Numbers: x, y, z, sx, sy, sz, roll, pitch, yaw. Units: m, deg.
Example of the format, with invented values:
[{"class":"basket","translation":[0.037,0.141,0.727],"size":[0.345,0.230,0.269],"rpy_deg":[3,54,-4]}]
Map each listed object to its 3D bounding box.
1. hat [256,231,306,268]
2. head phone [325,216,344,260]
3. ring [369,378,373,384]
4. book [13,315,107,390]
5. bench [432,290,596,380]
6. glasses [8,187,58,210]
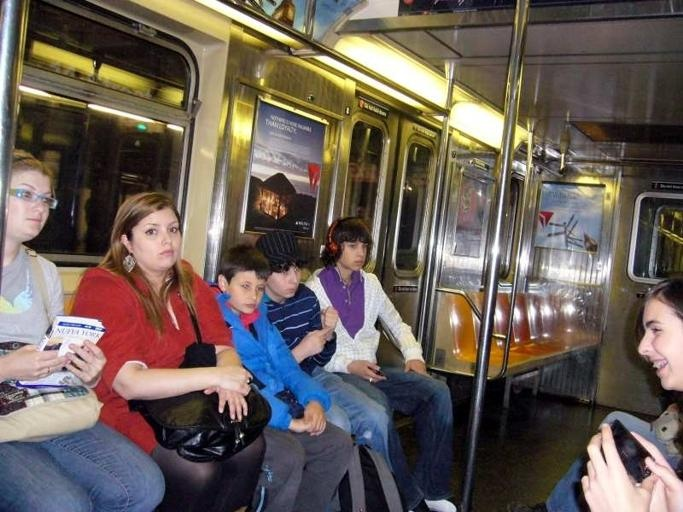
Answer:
[{"class":"hat","translation":[-0.388,-0.066,3.215],"size":[0.325,0.242,0.481],"rpy_deg":[2,-5,-33]},{"class":"head phone","translation":[-0.077,-0.150,3.894],"size":[0.115,0.301,0.317],"rpy_deg":[1,-4,11]},{"class":"ring","translation":[0.233,0.976,3.629],"size":[0.036,0.026,0.009],"rpy_deg":[4,1,7]},{"class":"book","translation":[-1.211,0.341,1.959],"size":[0.076,0.319,0.321],"rpy_deg":[37,20,33]},{"class":"bench","translation":[3.102,1.072,6.730],"size":[4.814,1.028,0.866],"rpy_deg":[6,0,-44]},{"class":"glasses","translation":[-1.367,-0.273,2.075],"size":[0.112,0.031,0.111],"rpy_deg":[15,4,25]}]
